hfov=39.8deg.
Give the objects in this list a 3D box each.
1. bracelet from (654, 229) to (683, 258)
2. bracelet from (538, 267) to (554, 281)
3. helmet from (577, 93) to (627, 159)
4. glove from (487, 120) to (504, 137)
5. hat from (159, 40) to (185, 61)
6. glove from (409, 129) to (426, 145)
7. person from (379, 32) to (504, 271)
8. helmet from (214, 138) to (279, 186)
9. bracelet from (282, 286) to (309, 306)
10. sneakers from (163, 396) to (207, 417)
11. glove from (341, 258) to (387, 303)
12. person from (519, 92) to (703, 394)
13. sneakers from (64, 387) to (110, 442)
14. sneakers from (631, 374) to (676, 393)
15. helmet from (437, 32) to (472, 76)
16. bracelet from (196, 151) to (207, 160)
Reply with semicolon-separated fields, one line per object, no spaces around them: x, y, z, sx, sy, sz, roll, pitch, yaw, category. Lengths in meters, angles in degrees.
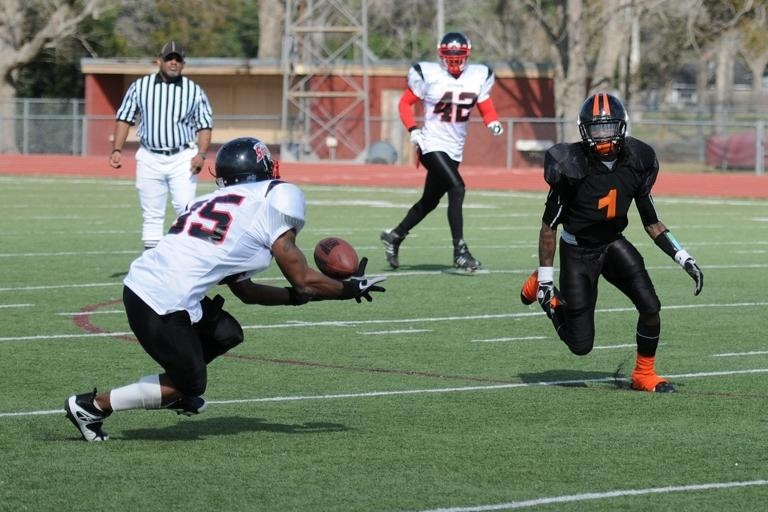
2.173;-0.107;8.209;0.256;0.149;0.119;45;11;19;bracelet
1.244;0.134;8.170;0.121;0.090;0.104;-1;6;-11;bracelet
1.614;-0.958;7.907;0.363;0.481;0.281;3;14;11;helmet
1.280;-1.470;12.161;0.182;0.204;0.056;0;19;32;glove
-2.190;-2.109;10.944;0.186;0.145;0.269;5;0;-14;hat
0.336;-1.361;12.126;0.074;0.172;0.191;-19;-3;40;glove
0.713;-1.192;12.373;1.289;2.746;1.065;6;15;21;person
-0.968;-0.628;7.388;0.385;0.353;0.506;1;11;33;helmet
-0.592;0.264;7.179;0.120;0.067;0.148;8;2;-24;bracelet
-1.343;1.024;7.289;0.319;0.099;0.142;-1;13;0;sneakers
-0.166;0.204;8.379;0.490;0.299;0.149;8;-16;-26;glove
1.694;-0.123;8.111;1.115;2.199;0.631;2;14;8;person
-1.992;1.073;7.128;0.233;0.308;0.107;-16;23;10;sneakers
2.033;0.948;8.070;0.236;0.084;0.146;4;3;35;sneakers
0.784;-2.318;12.237;0.355;0.488;0.349;1;13;2;helmet
-1.882;-1.029;10.897;0.110;0.089;0.060;-12;45;25;bracelet
